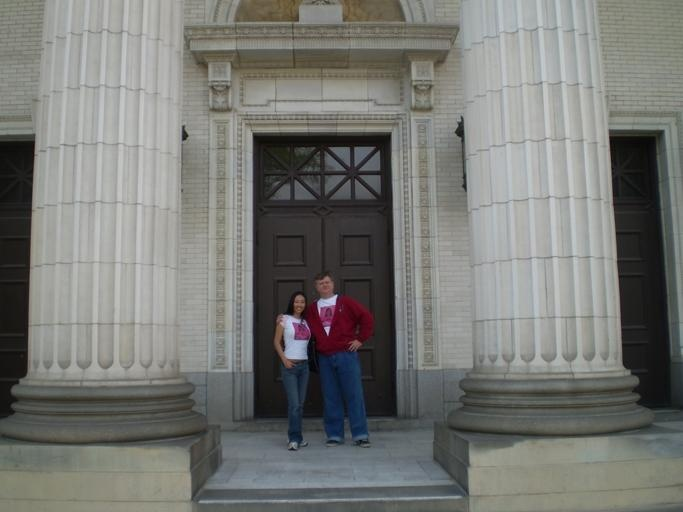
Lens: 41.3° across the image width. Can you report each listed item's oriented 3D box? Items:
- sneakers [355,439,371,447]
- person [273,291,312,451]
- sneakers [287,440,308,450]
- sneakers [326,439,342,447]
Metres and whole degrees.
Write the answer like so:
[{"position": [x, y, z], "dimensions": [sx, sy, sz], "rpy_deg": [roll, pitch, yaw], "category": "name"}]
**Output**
[{"position": [0.280, 2.540, 12.197], "dimensions": [0.223, 0.091, 0.081], "rpy_deg": [-8, -8, 37], "category": "sneakers"}, {"position": [-0.661, 1.554, 12.299], "dimensions": [0.459, 2.021, 0.782], "rpy_deg": [-1, 7, 2], "category": "person"}, {"position": [-0.586, 2.541, 12.152], "dimensions": [0.095, 0.102, 0.263], "rpy_deg": [-1, -1, 38], "category": "sneakers"}, {"position": [-0.115, 2.550, 12.301], "dimensions": [0.080, 0.058, 0.226], "rpy_deg": [-8, -17, 43], "category": "sneakers"}]
